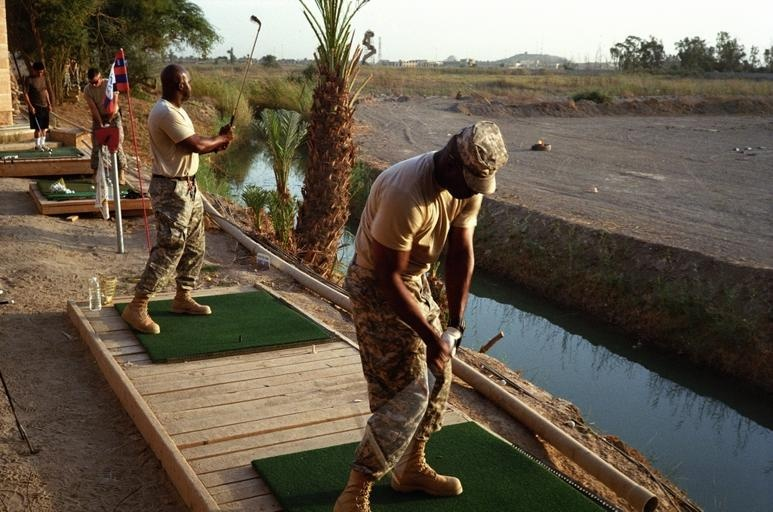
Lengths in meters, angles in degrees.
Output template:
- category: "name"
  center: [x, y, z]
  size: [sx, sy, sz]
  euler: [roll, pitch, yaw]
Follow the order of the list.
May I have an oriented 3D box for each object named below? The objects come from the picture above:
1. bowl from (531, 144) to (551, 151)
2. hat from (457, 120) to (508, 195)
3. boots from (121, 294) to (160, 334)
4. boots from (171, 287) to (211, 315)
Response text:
- category: "bowl"
  center: [6.057, -4.322, 21.679]
  size: [0.527, 0.202, 0.532]
  euler: [-2, 14, 1]
- category: "hat"
  center: [0.679, -0.714, 3.975]
  size: [0.341, 0.502, 0.295]
  euler: [-1, 18, -7]
- category: "boots"
  center: [-2.928, 0.725, 6.548]
  size: [0.464, 0.343, 0.181]
  euler: [33, 7, -1]
- category: "boots"
  center: [-2.396, 0.575, 7.044]
  size: [0.616, 0.440, 0.231]
  euler: [3, 11, -14]
